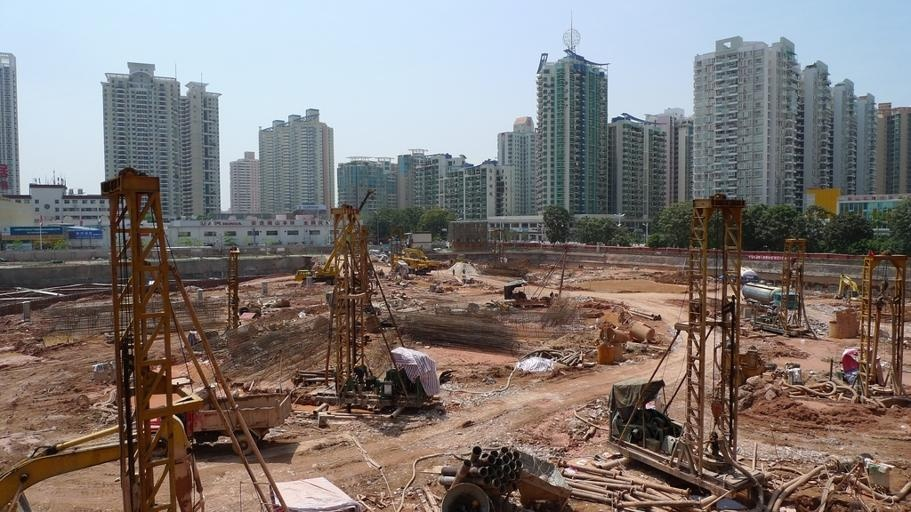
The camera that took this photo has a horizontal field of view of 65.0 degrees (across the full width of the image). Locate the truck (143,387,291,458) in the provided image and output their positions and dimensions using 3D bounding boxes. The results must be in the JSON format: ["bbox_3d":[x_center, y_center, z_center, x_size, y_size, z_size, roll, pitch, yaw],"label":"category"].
[{"bbox_3d":[-12.039,8.903,38.450,5.914,2.749,3.321,0,-4,1],"label":"truck"}]

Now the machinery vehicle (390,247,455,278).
[{"bbox_3d":[-4.356,1.267,79.076,5.332,2.431,3.578,-2,7,-13],"label":"machinery vehicle"}]

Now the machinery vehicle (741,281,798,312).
[{"bbox_3d":[23.436,2.947,53.418,1.868,1.246,3.018,-3,5,-31],"label":"machinery vehicle"}]

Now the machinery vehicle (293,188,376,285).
[{"bbox_3d":[-7.471,-1.182,43.735,5.188,5.572,1.182,-2,9,-5],"label":"machinery vehicle"}]
